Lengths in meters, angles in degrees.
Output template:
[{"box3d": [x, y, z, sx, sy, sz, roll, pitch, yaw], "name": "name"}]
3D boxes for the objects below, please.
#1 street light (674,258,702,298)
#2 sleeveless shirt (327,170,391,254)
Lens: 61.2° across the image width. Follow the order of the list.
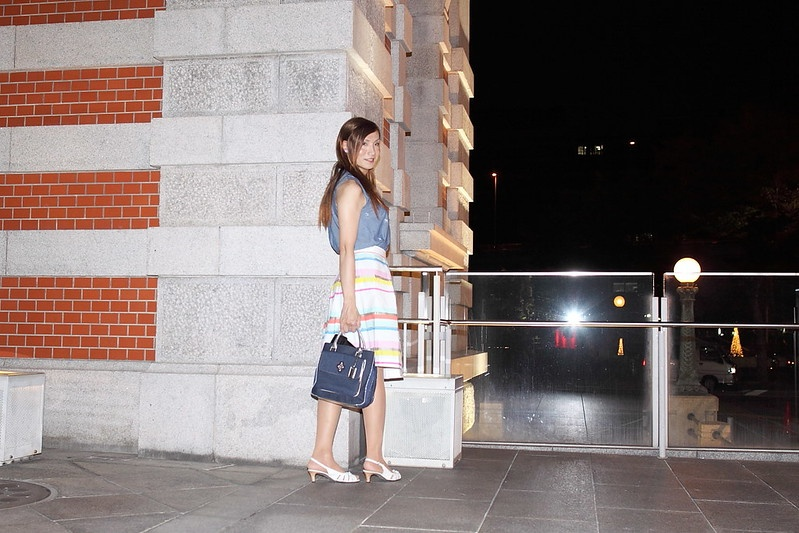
[{"box3d": [2.998, 0.161, 7.039, 0.289, 0.470, 0.271, 3, -1, 12], "name": "street light"}, {"box3d": [-0.366, -0.484, 5.732, 0.562, 0.758, 0.569, -4, 17, -10], "name": "sleeveless shirt"}]
